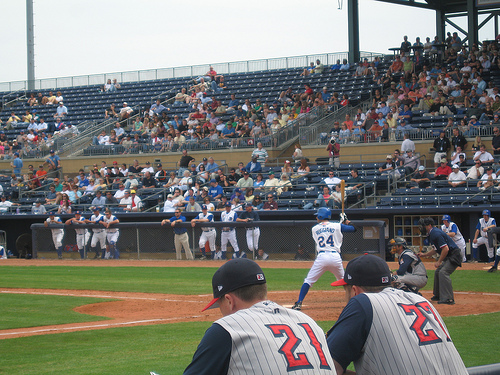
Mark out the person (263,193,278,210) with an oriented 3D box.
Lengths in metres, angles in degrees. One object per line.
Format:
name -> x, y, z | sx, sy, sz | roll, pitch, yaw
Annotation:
person -> 0.832, 0.500, 47.208 | 0.630, 0.799, 0.548 | 0, -3, 18

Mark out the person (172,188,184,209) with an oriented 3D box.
person -> -2.932, 0.445, 48.512 | 0.479, 0.793, 0.743 | 0, -6, -2

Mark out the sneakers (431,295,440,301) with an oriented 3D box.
sneakers -> 6.088, 3.577, 38.669 | 0.175, 0.126, 0.183 | -2, 1, -10

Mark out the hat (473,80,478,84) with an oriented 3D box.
hat -> 9.687, -4.546, 50.659 | 0.194, 0.162, 0.206 | 0, 0, 22

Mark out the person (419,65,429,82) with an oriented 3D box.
person -> 7.677, -5.015, 52.112 | 0.436, 0.778, 0.749 | 1, 0, 23

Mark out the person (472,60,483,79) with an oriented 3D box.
person -> 9.974, -5.202, 51.723 | 0.448, 0.689, 1.417 | -3, -2, 15

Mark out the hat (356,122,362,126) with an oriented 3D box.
hat -> 4.724, -2.770, 50.638 | 0.210, 0.163, 0.311 | 3, 6, 20

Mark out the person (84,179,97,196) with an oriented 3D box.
person -> -6.955, -0.025, 51.379 | 0.456, 0.754, 0.484 | 11, -14, 11

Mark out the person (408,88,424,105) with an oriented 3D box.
person -> 7.178, -3.916, 50.809 | 0.491, 0.610, 1.067 | -5, 17, 23

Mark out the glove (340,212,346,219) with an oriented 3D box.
glove -> 3.137, 0.954, 39.846 | 0.204, 0.321, 0.112 | -4, -1, 7

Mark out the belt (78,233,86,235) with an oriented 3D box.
belt -> -6.868, 1.860, 48.284 | 0.284, 0.085, 0.042 | -4, -2, 24

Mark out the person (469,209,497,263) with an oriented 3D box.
person -> 8.814, 1.797, 44.268 | 0.754, 1.605, 1.312 | -2, -2, -12

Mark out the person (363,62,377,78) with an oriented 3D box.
person -> 5.638, -5.523, 55.187 | 0.422, 0.817, 1.047 | -1, 21, 22

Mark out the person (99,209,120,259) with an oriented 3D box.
person -> -5.641, 1.846, 47.770 | 0.693, 1.992, 0.560 | -2, -1, 2

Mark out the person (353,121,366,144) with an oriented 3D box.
person -> 4.706, -2.362, 50.459 | 0.548, 0.460, 1.389 | -12, 32, 13

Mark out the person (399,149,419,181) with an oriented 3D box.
person -> 6.471, -0.954, 47.776 | 0.757, 1.557, 0.919 | -2, -19, 15

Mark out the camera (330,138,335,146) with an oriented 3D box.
camera -> 3.500, -1.981, 49.676 | 0.230, 0.231, 0.400 | -2, -2, 4

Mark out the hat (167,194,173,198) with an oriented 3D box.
hat -> -3.292, 0.315, 48.491 | 0.197, 0.162, 0.338 | 2, 4, 2

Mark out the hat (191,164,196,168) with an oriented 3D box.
hat -> -2.378, -0.949, 49.991 | 0.180, 0.141, 0.311 | 3, 0, 3

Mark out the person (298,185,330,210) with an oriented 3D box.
person -> 2.578, 0.369, 46.323 | 0.826, 0.591, 1.385 | 7, 3, 36

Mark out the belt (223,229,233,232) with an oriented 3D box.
belt -> -0.854, 1.647, 46.159 | 0.437, 0.100, 0.101 | -3, -2, 5

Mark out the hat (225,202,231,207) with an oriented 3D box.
hat -> -0.860, 0.655, 47.165 | 0.237, 0.192, 0.409 | 1, 7, 12

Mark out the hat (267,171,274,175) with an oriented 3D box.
hat -> 0.839, -0.631, 48.778 | 0.196, 0.157, 0.330 | 8, 0, 42

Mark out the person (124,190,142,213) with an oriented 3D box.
person -> -4.806, 0.594, 49.251 | 0.583, 1.022, 0.845 | -2, -5, 5

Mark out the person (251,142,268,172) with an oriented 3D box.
person -> 0.444, -1.148, 50.559 | 0.603, 1.653, 0.505 | -3, -14, 5

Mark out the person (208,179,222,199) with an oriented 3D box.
person -> -1.428, 0.046, 48.579 | 0.565, 0.887, 0.464 | -5, 33, 5

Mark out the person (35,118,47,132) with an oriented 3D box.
person -> -10.397, -3.211, 58.989 | 0.691, 0.670, 0.547 | -1, -7, 11

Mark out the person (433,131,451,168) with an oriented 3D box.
person -> 7.753, -1.451, 47.602 | 0.736, 1.853, 0.574 | -2, -28, 19

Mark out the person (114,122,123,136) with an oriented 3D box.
person -> -6.355, -2.850, 56.825 | 0.522, 0.765, 0.445 | -10, -42, -3

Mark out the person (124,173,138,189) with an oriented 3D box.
person -> -5.112, -0.305, 50.854 | 0.609, 0.690, 0.859 | -2, -2, -12

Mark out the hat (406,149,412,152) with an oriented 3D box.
hat -> 6.469, -1.513, 47.790 | 0.238, 0.110, 0.243 | -3, -2, 9

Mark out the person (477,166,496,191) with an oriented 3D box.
person -> 9.190, -0.383, 45.711 | 0.706, 0.759, 0.824 | -3, -2, 11

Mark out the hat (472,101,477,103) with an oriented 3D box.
hat -> 9.323, -3.601, 48.826 | 0.140, 0.112, 0.148 | 1, -9, 3

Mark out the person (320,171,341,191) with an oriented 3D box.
person -> 3.273, -0.281, 47.516 | 0.722, 0.896, 0.213 | -5, -18, 16

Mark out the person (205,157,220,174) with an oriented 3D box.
person -> -1.617, -1.008, 50.465 | 0.622, 0.880, 0.605 | -1, -3, 4

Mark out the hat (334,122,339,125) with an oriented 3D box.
hat -> 3.781, -2.805, 51.164 | 0.154, 0.161, 0.175 | 0, 9, 0

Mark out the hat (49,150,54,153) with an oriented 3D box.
hat -> -9.506, -1.754, 56.559 | 0.171, 0.144, 0.180 | -4, -11, 39
